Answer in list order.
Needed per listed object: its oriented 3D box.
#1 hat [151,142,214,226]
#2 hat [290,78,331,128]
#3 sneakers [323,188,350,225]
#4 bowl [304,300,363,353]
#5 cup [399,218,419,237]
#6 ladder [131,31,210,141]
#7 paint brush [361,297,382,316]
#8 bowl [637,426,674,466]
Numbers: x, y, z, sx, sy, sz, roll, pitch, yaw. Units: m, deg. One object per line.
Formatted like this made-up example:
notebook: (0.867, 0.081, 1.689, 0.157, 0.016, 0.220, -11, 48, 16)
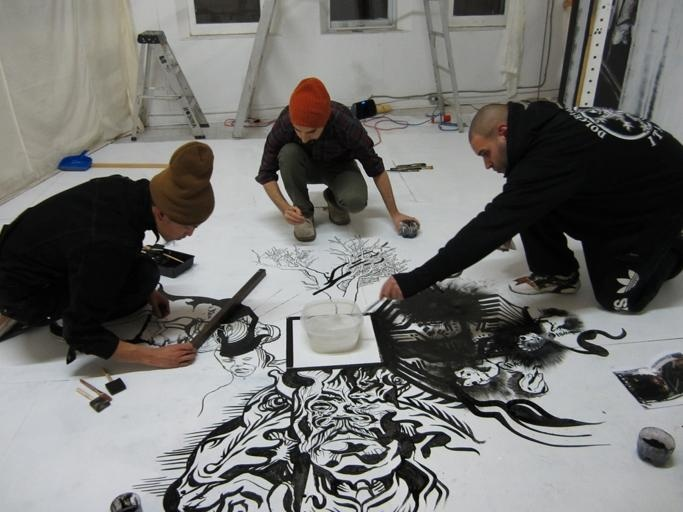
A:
hat: (-0.741, -0.360, 2.233, 0.313, 0.301, 0.284, -3, 34, -35)
hat: (-0.223, -1.043, 3.014, 0.284, 0.261, 0.410, -2, 46, -5)
sneakers: (-0.050, -0.322, 3.504, 0.125, 0.135, 0.325, -24, 72, -8)
bowl: (-0.058, 0.345, 2.448, 0.309, 0.140, 0.292, 0, 37, 0)
cup: (0.449, -0.190, 3.243, 0.127, 0.122, 0.100, -5, 10, -7)
ladder: (-1.934, -1.860, 5.145, 0.776, 1.047, 0.778, -6, 36, -8)
paint brush: (0.155, 0.286, 2.631, 0.122, 0.037, 0.016, -34, 20, -34)
bowl: (1.242, 0.750, 1.879, 0.133, 0.093, 0.135, -4, 10, 1)
